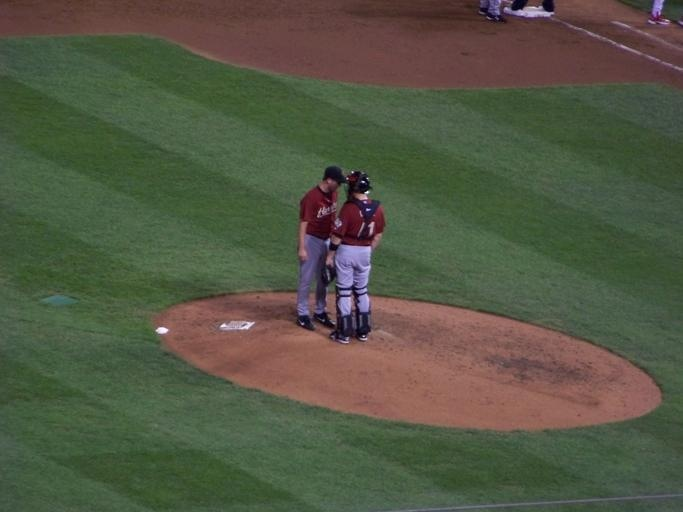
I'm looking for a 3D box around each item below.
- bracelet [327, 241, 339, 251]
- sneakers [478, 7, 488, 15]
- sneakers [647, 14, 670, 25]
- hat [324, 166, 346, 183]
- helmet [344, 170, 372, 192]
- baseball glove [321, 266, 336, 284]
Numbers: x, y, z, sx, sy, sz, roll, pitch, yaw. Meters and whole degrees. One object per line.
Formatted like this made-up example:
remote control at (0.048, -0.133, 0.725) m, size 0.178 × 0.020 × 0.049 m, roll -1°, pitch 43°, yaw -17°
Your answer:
bracelet at (-0.106, -0.139, 19.991) m, size 0.131 × 0.088 × 0.122 m, roll 5°, pitch 14°, yaw 2°
sneakers at (2.835, -4.887, 27.685) m, size 0.199 × 0.176 × 0.119 m, roll 3°, pitch 0°, yaw -11°
sneakers at (6.725, -4.966, 29.192) m, size 0.373 × 0.117 × 0.248 m, roll 3°, pitch 6°, yaw -7°
hat at (-0.090, -1.192, 20.022) m, size 0.305 × 0.163 × 0.210 m, roll 7°, pitch 20°, yaw -3°
helmet at (0.258, -1.077, 20.004) m, size 0.378 × 0.297 × 0.277 m, roll -1°, pitch 13°, yaw 27°
baseball glove at (-0.181, 0.270, 20.109) m, size 0.201 × 0.089 × 0.259 m, roll 13°, pitch 18°, yaw 17°
